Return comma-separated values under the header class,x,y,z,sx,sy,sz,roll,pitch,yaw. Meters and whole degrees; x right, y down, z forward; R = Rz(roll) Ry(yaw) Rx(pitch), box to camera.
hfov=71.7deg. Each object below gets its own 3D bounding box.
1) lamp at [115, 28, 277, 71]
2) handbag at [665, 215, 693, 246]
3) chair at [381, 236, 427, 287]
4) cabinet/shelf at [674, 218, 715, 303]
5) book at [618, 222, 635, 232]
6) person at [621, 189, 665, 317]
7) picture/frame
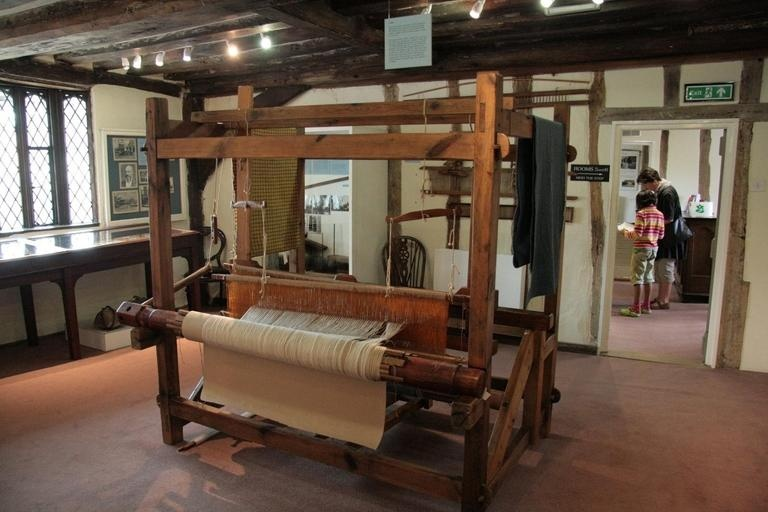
class,x,y,z,sx,sy,sz,roll,pitch,yaw
lamp,-2.120,-2.360,6.043,1.833,0.237,0.218,-11,-26,21
handbag,4.303,-0.388,7.911,0.407,0.588,0.509,-2,6,36
chair,0.347,0.063,7.452,0.669,0.953,0.697,-2,9,0
cabinet/shelf,4.733,0.030,8.079,0.578,1.129,1.319,2,5,23
book,3.629,-0.432,7.909,0.256,0.053,0.244,3,19,10
person,3.710,-0.024,7.643,0.518,1.818,0.629,5,10,25
picture/frame,-3.515,-1.074,7.310,0.116,1.188,0.611,5,10,28
